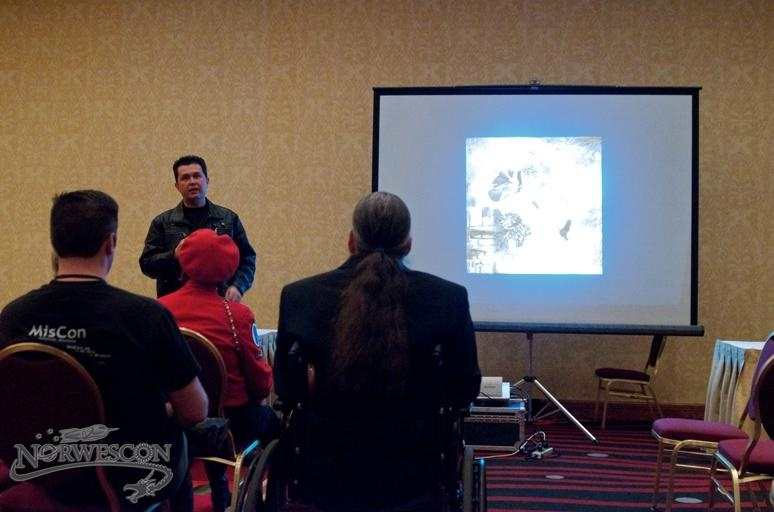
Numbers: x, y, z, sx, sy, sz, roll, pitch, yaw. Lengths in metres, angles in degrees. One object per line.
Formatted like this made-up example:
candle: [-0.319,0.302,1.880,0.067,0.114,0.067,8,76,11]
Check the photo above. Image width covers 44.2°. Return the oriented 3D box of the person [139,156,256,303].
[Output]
person: [-1.602,0.227,8.076,0.944,2.014,0.649,-1,11,-14]

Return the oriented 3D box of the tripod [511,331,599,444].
tripod: [1.521,1.183,8.804,0.833,0.956,0.881,-1,4,17]
